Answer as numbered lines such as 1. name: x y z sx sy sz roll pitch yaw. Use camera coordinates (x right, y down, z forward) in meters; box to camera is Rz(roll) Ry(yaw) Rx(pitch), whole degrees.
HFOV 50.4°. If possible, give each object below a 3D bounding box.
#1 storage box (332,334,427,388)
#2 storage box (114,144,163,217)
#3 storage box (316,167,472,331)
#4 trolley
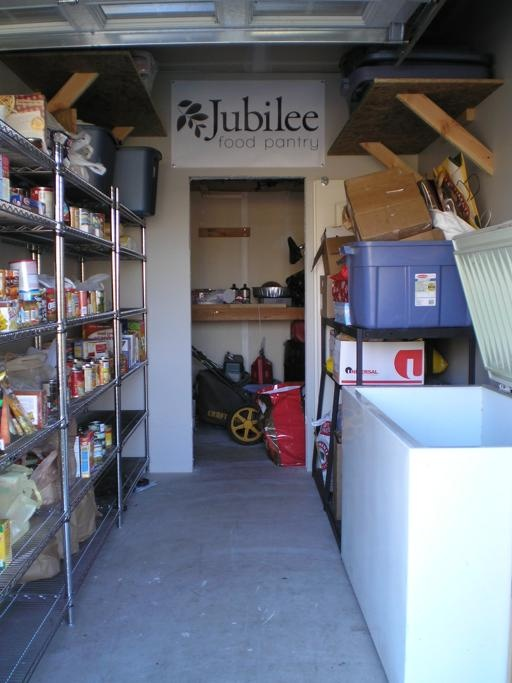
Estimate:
1. storage box: 0.593 0.099 2.616 0.293 0.186 0.296 0 1 -5
2. storage box: -0.662 -0.896 3.027 0.247 0.328 0.268 6 7 11
3. storage box: 0.586 -0.344 2.323 0.687 0.697 0.429 0 -14 -12
4. trolley: -0.238 0.355 4.457 0.655 0.866 0.508 4 4 1
